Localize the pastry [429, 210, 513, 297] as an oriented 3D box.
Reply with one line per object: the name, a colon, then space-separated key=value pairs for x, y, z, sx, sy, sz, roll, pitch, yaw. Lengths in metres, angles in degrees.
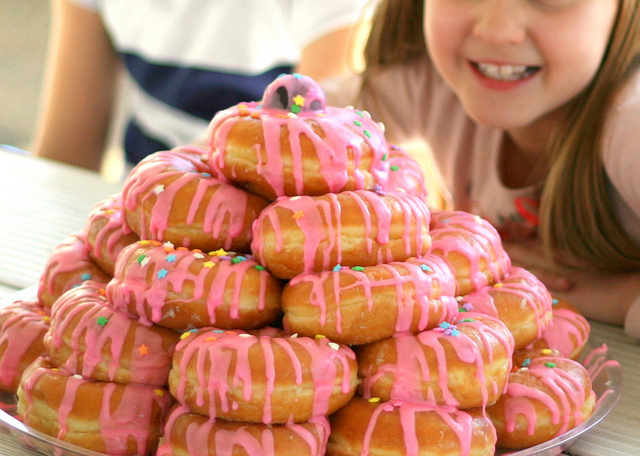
pastry: x=0.386 y=0.061 z=1.937 sx=0.181 sy=0.094 sz=0.223 roll=0 pitch=5 yaw=-1

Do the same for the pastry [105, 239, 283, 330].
pastry: x=-0.327 y=0.151 z=2.002 sx=0.412 sy=0.221 sz=0.504 roll=5 pitch=1 yaw=-5

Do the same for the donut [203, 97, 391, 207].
donut: x=-0.026 y=-0.200 z=1.988 sx=0.436 sy=0.212 sz=0.431 roll=-6 pitch=14 yaw=-22

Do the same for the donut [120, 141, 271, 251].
donut: x=-0.318 y=-0.065 z=1.896 sx=0.295 sy=0.125 sz=0.295 roll=25 pitch=13 yaw=15

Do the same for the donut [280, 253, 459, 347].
donut: x=0.109 y=0.177 z=1.767 sx=0.243 sy=0.106 sz=0.259 roll=-12 pitch=-9 yaw=40

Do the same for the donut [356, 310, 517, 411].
donut: x=0.293 y=0.345 z=1.939 sx=0.437 sy=0.221 sz=0.400 roll=-4 pitch=0 yaw=-28

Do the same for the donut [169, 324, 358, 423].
donut: x=-0.137 y=0.366 z=1.914 sx=0.489 sy=0.201 sz=0.490 roll=4 pitch=0 yaw=5

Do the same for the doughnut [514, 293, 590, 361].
doughnut: x=0.632 y=0.267 z=2.058 sx=0.169 sy=0.065 sz=0.165 roll=-26 pitch=15 yaw=-32

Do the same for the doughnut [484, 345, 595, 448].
doughnut: x=0.545 y=0.386 z=1.894 sx=0.197 sy=0.095 sz=0.246 roll=-11 pitch=17 yaw=12

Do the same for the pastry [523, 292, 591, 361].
pastry: x=0.648 y=0.269 z=2.036 sx=0.158 sy=0.062 sz=0.158 roll=-23 pitch=14 yaw=-13

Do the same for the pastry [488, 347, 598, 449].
pastry: x=0.540 y=0.422 z=1.844 sx=0.194 sy=0.095 sz=0.251 roll=-11 pitch=14 yaw=6

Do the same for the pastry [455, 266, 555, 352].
pastry: x=0.501 y=0.196 z=1.935 sx=0.195 sy=0.089 sz=0.216 roll=-8 pitch=9 yaw=2

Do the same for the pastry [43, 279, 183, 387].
pastry: x=-0.478 y=0.256 z=1.949 sx=0.424 sy=0.162 sz=0.392 roll=2 pitch=23 yaw=-31

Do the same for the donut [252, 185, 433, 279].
donut: x=0.059 y=-0.004 z=1.929 sx=0.468 sy=0.212 sz=0.321 roll=-5 pitch=12 yaw=-21
